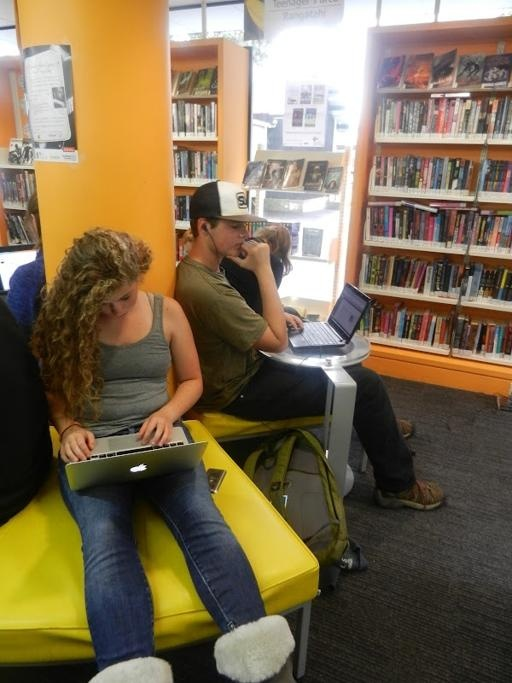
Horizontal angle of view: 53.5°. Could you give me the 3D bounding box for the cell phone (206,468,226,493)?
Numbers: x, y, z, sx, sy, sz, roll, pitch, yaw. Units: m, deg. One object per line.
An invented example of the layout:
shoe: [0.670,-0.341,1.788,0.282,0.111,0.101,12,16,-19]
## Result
cell phone: [-0.115,0.408,1.477,0.045,0.012,0.076,4,20,8]

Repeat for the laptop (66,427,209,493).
laptop: [-0.296,0.248,1.238,0.272,0.178,0.152,-7,52,-23]

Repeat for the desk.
desk: [0.259,0.311,2.096,0.559,0.527,0.551,-4,22,-7]

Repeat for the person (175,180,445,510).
person: [0.184,-0.205,2.664,1.402,1.648,0.787,-3,17,-5]

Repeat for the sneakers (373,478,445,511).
sneakers: [0.683,0.678,2.250,0.249,0.112,0.127,-4,29,5]

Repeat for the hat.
hat: [-0.112,-0.513,1.869,0.233,0.123,0.159,9,30,10]
